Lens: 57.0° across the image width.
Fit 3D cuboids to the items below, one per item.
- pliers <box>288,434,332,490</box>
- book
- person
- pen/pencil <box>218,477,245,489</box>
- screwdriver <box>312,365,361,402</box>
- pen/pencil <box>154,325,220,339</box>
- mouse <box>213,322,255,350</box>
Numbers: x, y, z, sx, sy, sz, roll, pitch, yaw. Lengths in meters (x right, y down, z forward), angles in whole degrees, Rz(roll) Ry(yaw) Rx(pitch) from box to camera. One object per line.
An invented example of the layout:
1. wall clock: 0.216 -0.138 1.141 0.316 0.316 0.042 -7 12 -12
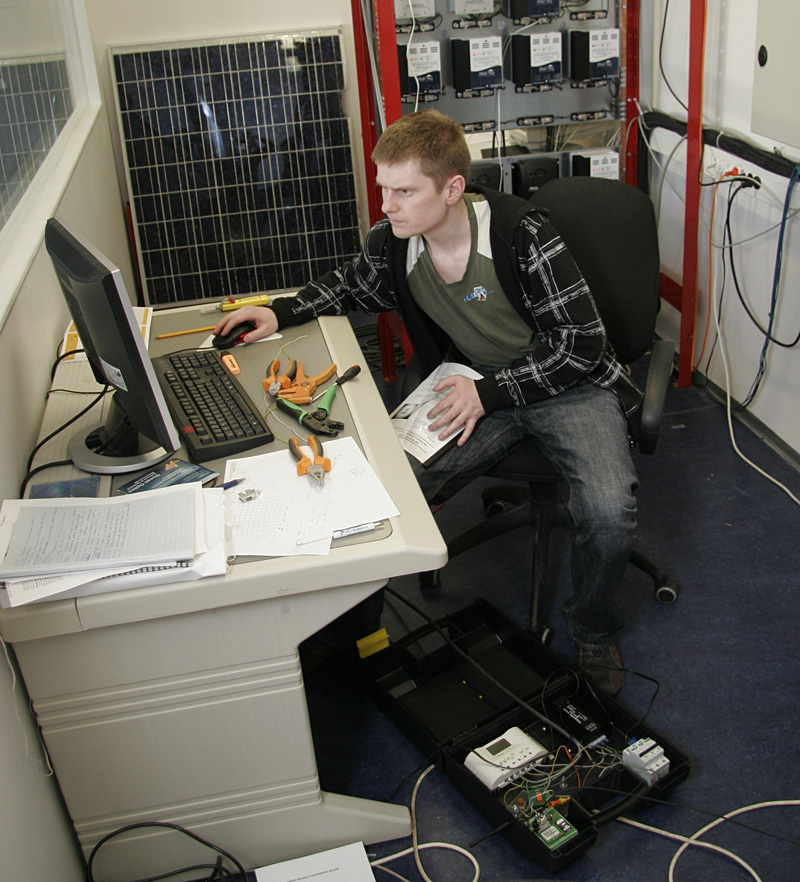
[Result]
1. pliers: -0.149 0.034 1.244 0.042 0.023 0.113 -6 32 -10
2. book: 0.110 -0.050 1.732 0.204 0.213 0.246 -9 30 -23
3. person: 0.398 -0.136 1.940 0.647 1.040 0.678 -24 31 -35
4. pen/pencil: -0.273 0.068 1.200 0.034 0.006 0.006 -18 -8 -19
5. screwdriver: -0.120 -0.131 1.541 0.033 0.029 0.176 -6 28 40
6. pen/pencil: -0.525 -0.270 1.832 0.160 0.016 0.018 -12 -2 0
7. mouse: -0.391 -0.245 1.773 0.100 0.025 0.053 -33 51 -16
